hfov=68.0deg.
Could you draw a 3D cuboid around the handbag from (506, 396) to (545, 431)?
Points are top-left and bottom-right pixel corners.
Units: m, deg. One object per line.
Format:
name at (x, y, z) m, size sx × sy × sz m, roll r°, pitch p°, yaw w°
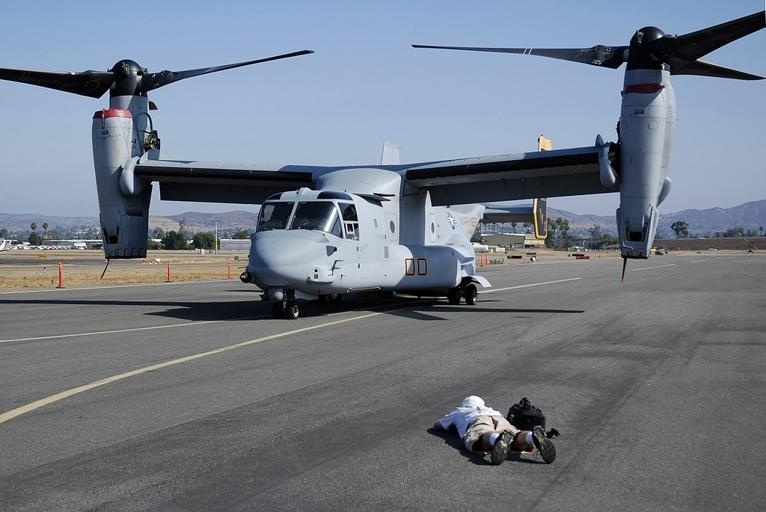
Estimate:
handbag at (1.816, 1.986, 7.246) m, size 0.514 × 0.449 × 0.365 m, roll -5°, pitch 14°, yaw 22°
